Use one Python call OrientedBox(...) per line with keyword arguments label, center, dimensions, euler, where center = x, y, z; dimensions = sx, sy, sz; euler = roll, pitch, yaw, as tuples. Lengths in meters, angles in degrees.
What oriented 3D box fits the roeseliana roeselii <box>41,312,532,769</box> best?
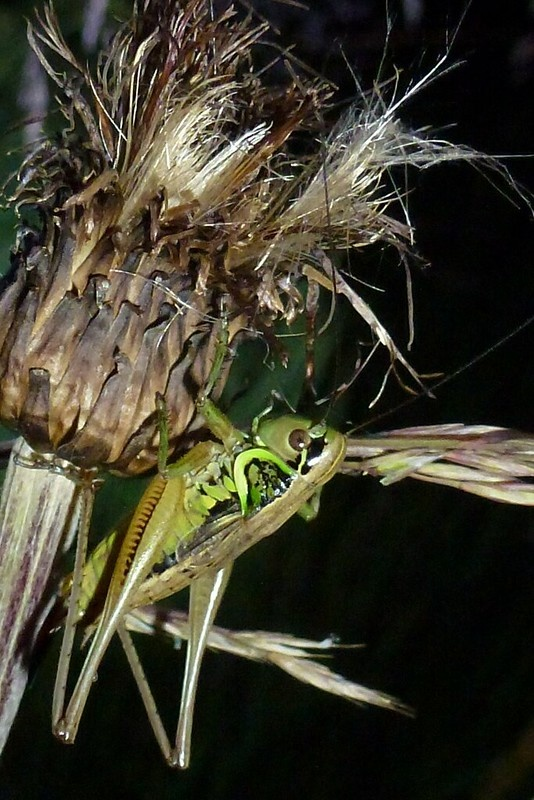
OrientedBox(label="roeseliana roeselii", center=(-0.032, 0.066, 0.682), dimensions=(0.162, 0.430, 0.252), euler=(53, -4, 27))
